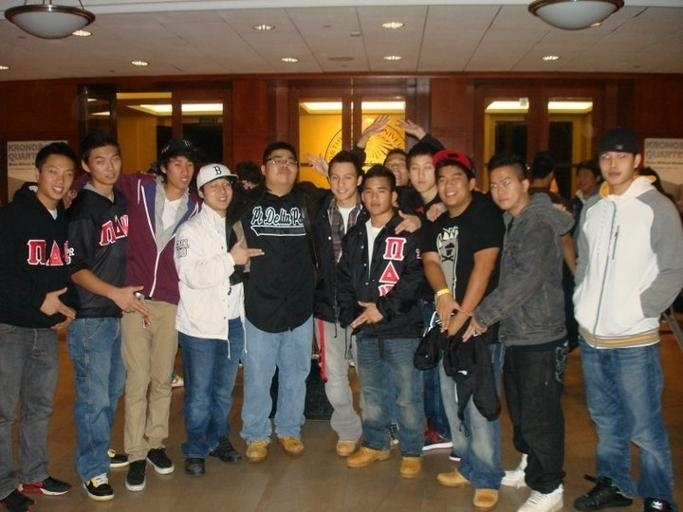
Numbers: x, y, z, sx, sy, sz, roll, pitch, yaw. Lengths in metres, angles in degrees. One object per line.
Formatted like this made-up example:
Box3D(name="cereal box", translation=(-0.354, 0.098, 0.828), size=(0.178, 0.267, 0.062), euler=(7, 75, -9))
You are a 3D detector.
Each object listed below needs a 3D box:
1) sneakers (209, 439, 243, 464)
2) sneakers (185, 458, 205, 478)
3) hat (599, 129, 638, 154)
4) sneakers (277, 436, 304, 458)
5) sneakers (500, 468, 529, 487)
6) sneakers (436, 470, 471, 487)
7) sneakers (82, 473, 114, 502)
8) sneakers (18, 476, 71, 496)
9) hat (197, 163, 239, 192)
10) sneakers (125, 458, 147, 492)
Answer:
Box3D(name="sneakers", translation=(-0.909, 1.553, 4.953), size=(0.315, 0.127, 0.117), euler=(-6, -6, 38))
Box3D(name="sneakers", translation=(-1.110, 1.593, 4.699), size=(0.098, 0.072, 0.168), euler=(1, 14, -14))
Box3D(name="hat", translation=(1.883, -0.792, 4.190), size=(0.213, 0.156, 0.212), euler=(8, 21, 26))
Box3D(name="sneakers", translation=(-0.390, 1.535, 4.986), size=(0.109, 0.082, 0.202), euler=(-4, 0, -33))
Box3D(name="sneakers", translation=(1.258, 1.613, 4.499), size=(0.169, 0.063, 0.115), euler=(2, 15, -5))
Box3D(name="sneakers", translation=(0.820, 1.631, 4.524), size=(0.228, 0.103, 0.102), euler=(4, 11, 5))
Box3D(name="sneakers", translation=(-1.745, 1.678, 4.465), size=(0.110, 0.130, 0.313), euler=(7, -10, -40))
Box3D(name="sneakers", translation=(-2.107, 1.659, 4.488), size=(0.378, 0.150, 0.133), euler=(2, 2, -6))
Box3D(name="hat", translation=(-1.004, -0.622, 4.740), size=(0.194, 0.122, 0.258), euler=(-18, -1, -41))
Box3D(name="sneakers", translation=(-1.509, 1.613, 4.557), size=(0.102, 0.101, 0.259), euler=(8, 18, -22))
